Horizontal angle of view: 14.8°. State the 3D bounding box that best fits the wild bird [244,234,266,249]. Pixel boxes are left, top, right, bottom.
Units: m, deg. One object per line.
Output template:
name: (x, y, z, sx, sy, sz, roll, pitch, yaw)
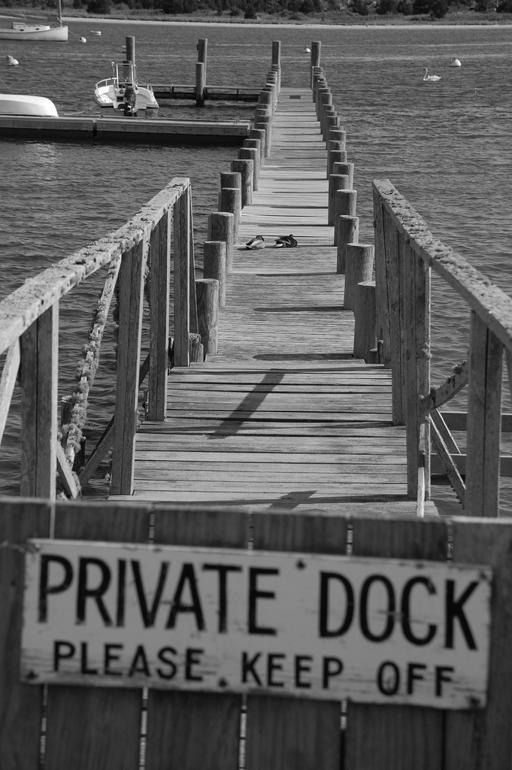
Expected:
wild bird: (-0.017, -0.986, 14.441, 0.145, 0.088, 0.242, 3, 10, 1)
